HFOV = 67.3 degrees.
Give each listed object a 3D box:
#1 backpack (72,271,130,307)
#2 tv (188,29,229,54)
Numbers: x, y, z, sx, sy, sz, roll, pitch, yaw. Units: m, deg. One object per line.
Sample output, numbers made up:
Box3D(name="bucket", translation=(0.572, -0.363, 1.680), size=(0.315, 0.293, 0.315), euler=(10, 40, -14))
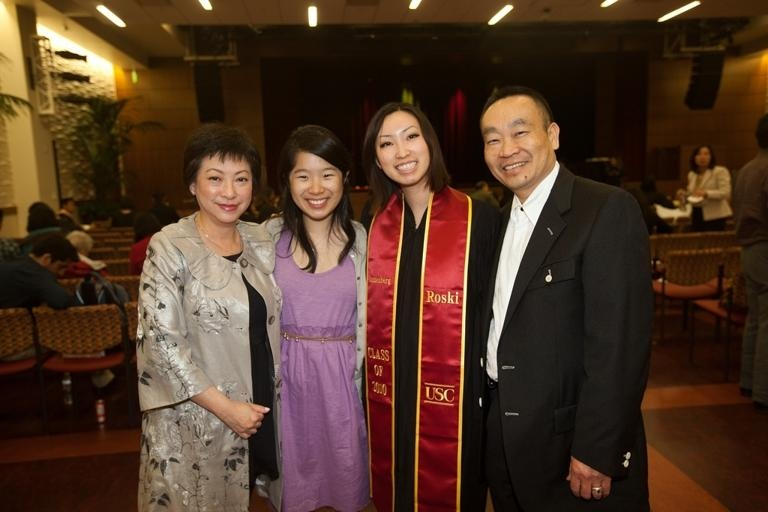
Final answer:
Box3D(name="backpack", translation=(-2.711, 0.316, 5.683), size=(0.413, 0.437, 0.309), euler=(-3, 6, 12))
Box3D(name="tv", translation=(-2.721, -3.362, 9.022), size=(0.592, 0.367, 0.417), euler=(0, 3, -3))
